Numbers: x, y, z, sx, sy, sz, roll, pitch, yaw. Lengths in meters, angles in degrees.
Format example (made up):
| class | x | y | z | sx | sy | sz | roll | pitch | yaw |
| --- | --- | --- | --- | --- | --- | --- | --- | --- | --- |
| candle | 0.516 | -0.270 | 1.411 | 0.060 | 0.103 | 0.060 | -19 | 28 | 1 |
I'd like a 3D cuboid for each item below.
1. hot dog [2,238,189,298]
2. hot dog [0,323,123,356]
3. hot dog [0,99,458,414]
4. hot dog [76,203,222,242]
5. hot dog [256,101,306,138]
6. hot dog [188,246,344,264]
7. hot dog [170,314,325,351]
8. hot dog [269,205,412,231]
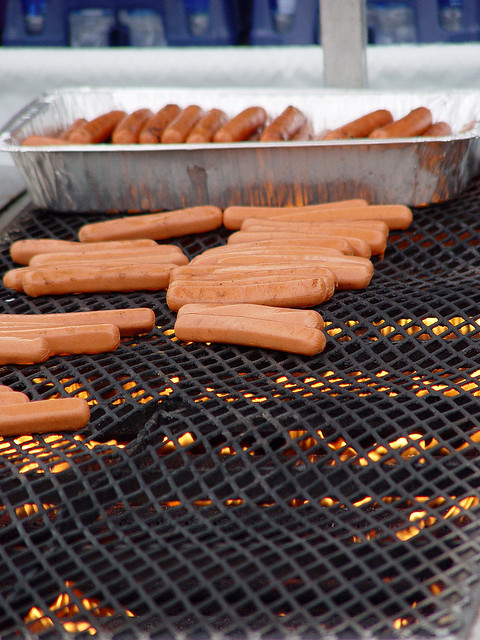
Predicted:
| class | x | y | z | sx | sy | sz | roll | pitch | yaw |
| --- | --- | --- | --- | --- | --- | --- | --- | --- | --- |
| hot dog | -0.348 | -0.127 | 1.783 | 0.390 | 0.060 | 0.183 | -2 | 27 | -4 |
| hot dog | -0.387 | 0.033 | 1.528 | 0.322 | 0.063 | 0.073 | -2 | 2 | 5 |
| hot dog | -0.005 | -0.182 | 2.029 | 1.359 | 0.157 | 0.707 | -3 | 36 | 9 |
| hot dog | -0.235 | -0.265 | 2.036 | 0.350 | 0.068 | 0.066 | -9 | 45 | 4 |
| hot dog | 0.122 | -0.581 | 2.169 | 0.072 | 0.046 | 0.211 | 32 | 42 | 20 |
| hot dog | 0.073 | -0.147 | 1.703 | 0.429 | 0.043 | 0.061 | 1 | -1 | 6 |
| hot dog | 0.014 | 0.026 | 1.499 | 0.346 | 0.059 | 0.084 | 3 | 46 | 19 |
| hot dog | 0.259 | -0.255 | 1.885 | 0.371 | 0.061 | 0.053 | -3 | 48 | 18 |
